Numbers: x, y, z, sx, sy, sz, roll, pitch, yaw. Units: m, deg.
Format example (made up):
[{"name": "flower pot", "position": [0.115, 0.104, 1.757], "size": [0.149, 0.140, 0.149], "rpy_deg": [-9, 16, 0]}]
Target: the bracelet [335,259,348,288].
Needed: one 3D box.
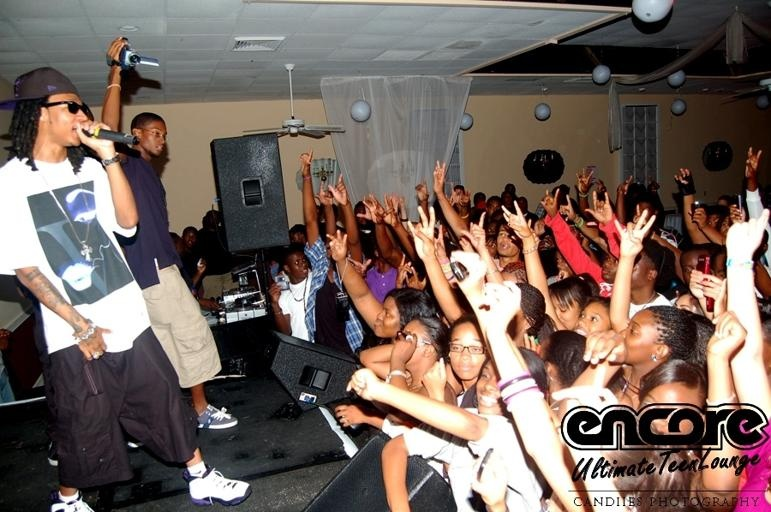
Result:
[{"name": "bracelet", "position": [-0.332, 0.138, 3.356], "size": [0.030, 0.183, 0.176], "rpy_deg": [2, 12, -11]}]

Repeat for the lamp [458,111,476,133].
[{"name": "lamp", "position": [1.585, -2.630, 8.955], "size": [0.232, 0.377, 0.891], "rpy_deg": [-5, 13, 11]}]

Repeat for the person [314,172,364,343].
[{"name": "person", "position": [-0.389, -0.089, 4.053], "size": [0.309, 1.127, 0.353], "rpy_deg": [4, 24, 9]}]

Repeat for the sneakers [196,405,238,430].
[{"name": "sneakers", "position": [-1.060, 1.093, 3.058], "size": [0.329, 0.168, 0.137], "rpy_deg": [1, 2, -2]}]

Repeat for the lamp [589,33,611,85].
[{"name": "lamp", "position": [3.091, -2.808, 6.696], "size": [0.285, 0.590, 0.840], "rpy_deg": [-2, 14, 24]}]

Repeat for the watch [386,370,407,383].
[{"name": "watch", "position": [0.040, 0.573, 2.166], "size": [0.065, 0.031, 0.058], "rpy_deg": [-3, -1, 40]}]

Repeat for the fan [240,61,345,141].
[{"name": "fan", "position": [-1.303, -2.176, 6.356], "size": [1.378, 0.905, 1.398], "rpy_deg": [-3, 10, -20]}]

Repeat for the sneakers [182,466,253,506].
[{"name": "sneakers", "position": [-0.885, 1.237, 2.533], "size": [0.374, 0.203, 0.155], "rpy_deg": [2, 39, -10]}]

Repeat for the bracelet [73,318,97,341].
[{"name": "bracelet", "position": [-1.458, 0.371, 2.242], "size": [0.080, 0.101, 0.051], "rpy_deg": [26, -25, 2]}]

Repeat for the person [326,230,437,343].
[{"name": "person", "position": [-0.093, 0.186, 3.078], "size": [0.311, 0.798, 0.585], "rpy_deg": [-40, -6, 32]}]

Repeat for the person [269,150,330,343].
[{"name": "person", "position": [-0.713, 0.084, 3.968], "size": [0.537, 1.813, 0.422], "rpy_deg": [1, 11, 21]}]

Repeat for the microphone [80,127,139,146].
[{"name": "microphone", "position": [-1.299, -0.575, 2.173], "size": [0.323, 0.114, 0.092], "rpy_deg": [0, 14, 31]}]

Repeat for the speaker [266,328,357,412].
[{"name": "speaker", "position": [-0.577, 0.816, 3.265], "size": [0.512, 0.532, 0.779], "rpy_deg": [26, -22, -22]}]

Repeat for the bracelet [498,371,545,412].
[{"name": "bracelet", "position": [0.483, 0.480, 1.656], "size": [0.127, 0.111, 0.127], "rpy_deg": [-47, -13, 8]}]

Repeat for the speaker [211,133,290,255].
[{"name": "speaker", "position": [-1.242, -0.612, 4.180], "size": [0.632, 0.997, 0.580], "rpy_deg": [-16, 22, -35]}]

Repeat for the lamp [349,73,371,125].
[{"name": "lamp", "position": [-0.346, -2.342, 7.089], "size": [0.402, 0.619, 0.418], "rpy_deg": [-2, -1, 29]}]
